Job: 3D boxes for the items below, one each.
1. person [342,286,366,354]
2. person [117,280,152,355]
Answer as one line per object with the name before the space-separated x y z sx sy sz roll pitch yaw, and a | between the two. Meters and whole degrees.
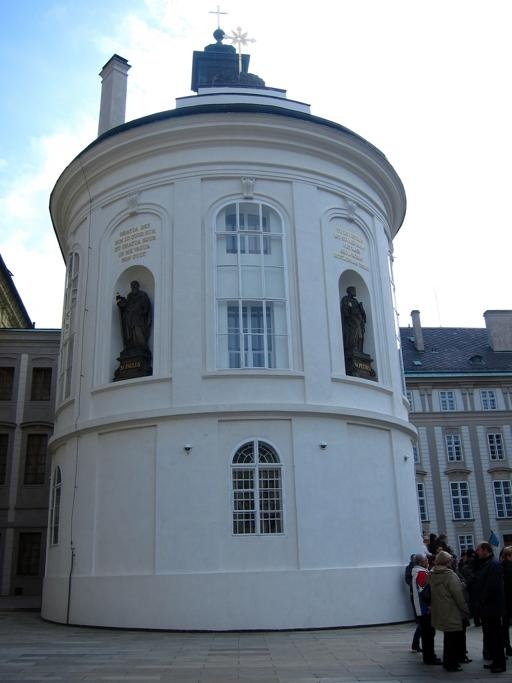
person | 2.495 -0.548 13.622 0.275 1.870 0.814 -20 -23 41
person | -2.971 -0.541 13.012 0.940 2.056 0.435 -14 -19 28
